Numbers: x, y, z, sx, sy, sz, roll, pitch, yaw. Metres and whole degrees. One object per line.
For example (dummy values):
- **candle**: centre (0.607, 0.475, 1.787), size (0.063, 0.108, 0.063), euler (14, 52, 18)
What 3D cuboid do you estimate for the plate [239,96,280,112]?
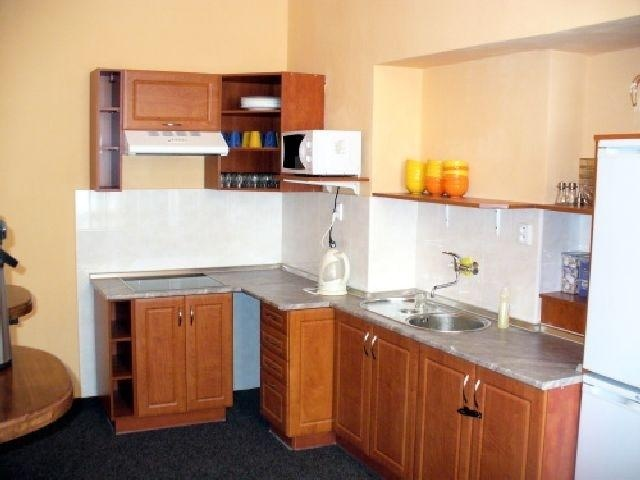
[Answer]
- **plate**: centre (-0.489, -1.133, 4.548), size (0.348, 0.134, 0.172), euler (1, 8, 3)

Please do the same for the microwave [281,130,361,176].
- **microwave**: centre (0.003, -0.684, 4.236), size (0.448, 0.338, 0.624), euler (-8, 12, -27)

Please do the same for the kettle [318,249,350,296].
- **kettle**: centre (0.103, 0.254, 4.086), size (0.218, 0.344, 0.334), euler (-1, 7, -16)

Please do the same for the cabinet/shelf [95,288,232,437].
- **cabinet/shelf**: centre (-1.200, 0.944, 4.428), size (0.943, 1.047, 0.521), euler (-1, -1, -16)

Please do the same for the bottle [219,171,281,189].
- **bottle**: centre (-0.593, -0.496, 4.623), size (0.492, 0.135, 0.110), euler (-1, 8, -8)

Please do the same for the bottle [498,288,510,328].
- **bottle**: centre (1.108, 0.415, 3.311), size (0.065, 0.229, 0.081), euler (3, 8, 18)

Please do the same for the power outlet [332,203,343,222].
- **power outlet**: centre (0.130, -0.218, 4.367), size (0.039, 0.156, 0.141), euler (-3, 9, -24)

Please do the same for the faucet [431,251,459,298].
- **faucet**: centre (0.868, 0.252, 3.817), size (0.164, 0.352, 0.349), euler (1, 8, 2)

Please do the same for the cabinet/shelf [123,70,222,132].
- **cabinet/shelf**: centre (-1.203, -1.120, 4.619), size (0.837, 0.516, 0.453), euler (1, -1, -5)

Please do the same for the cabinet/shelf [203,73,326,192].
- **cabinet/shelf**: centre (-0.404, -0.994, 4.858), size (1.253, 1.229, 0.908), euler (-1, 4, -21)

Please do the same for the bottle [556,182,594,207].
- **bottle**: centre (1.403, -0.249, 3.029), size (0.152, 0.109, 0.118), euler (-2, 6, -17)

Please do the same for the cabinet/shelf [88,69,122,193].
- **cabinet/shelf**: centre (-1.754, -0.891, 4.483), size (0.267, 0.963, 0.403), euler (-3, 9, -23)
